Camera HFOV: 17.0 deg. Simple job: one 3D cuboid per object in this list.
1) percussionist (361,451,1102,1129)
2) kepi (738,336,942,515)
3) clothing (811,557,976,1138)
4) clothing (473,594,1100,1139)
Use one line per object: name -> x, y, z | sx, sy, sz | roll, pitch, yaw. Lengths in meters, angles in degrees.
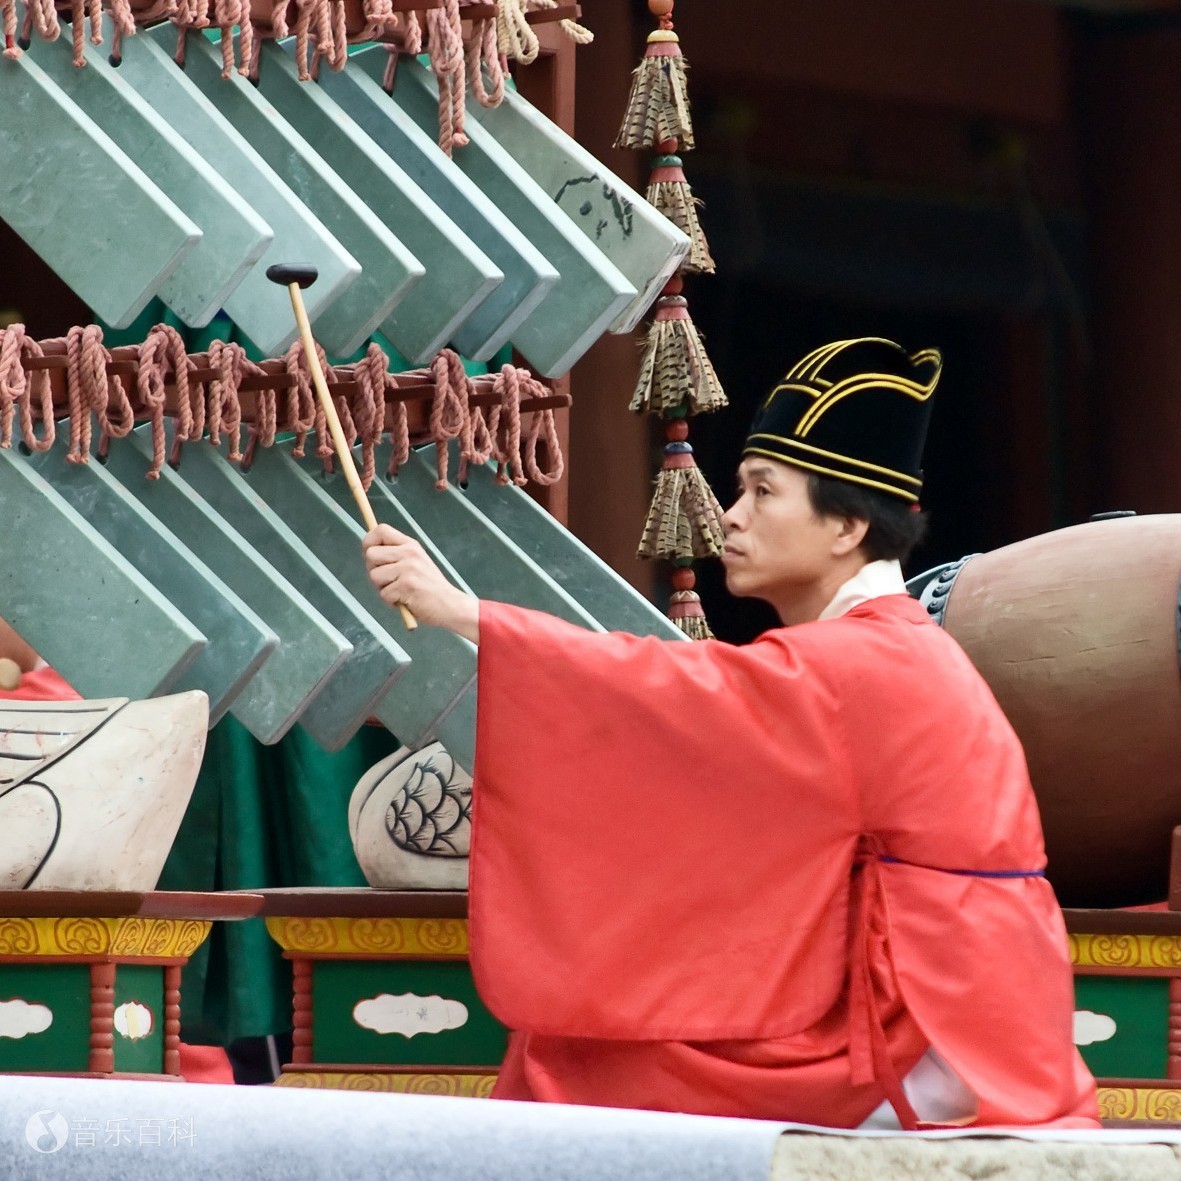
percussionist -> 0.208, 0.378, 6.102 | 0.841, 1.037, 0.813 | -9, 16, -28
kepi -> 0.411, -0.283, 6.264 | 0.303, 0.242, 0.231 | 11, 2, -21
clothing -> 0.514, 0.386, 6.052 | 0.369, 0.758, 0.280 | 2, 14, 11
clothing -> 0.261, 0.424, 6.091 | 0.846, 0.634, 0.961 | 2, -7, 34
